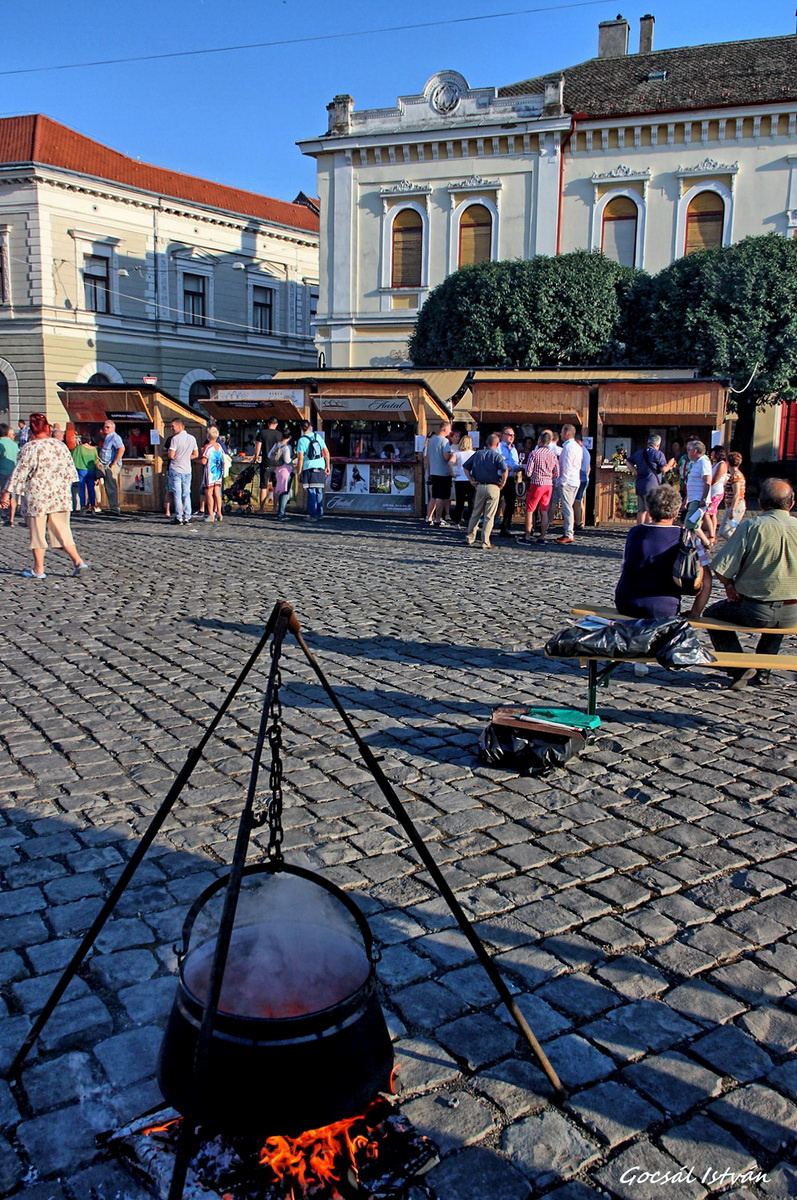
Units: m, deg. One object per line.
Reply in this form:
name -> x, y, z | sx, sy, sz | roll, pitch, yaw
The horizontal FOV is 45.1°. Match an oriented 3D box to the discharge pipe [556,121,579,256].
discharge pipe -> 5.195, -12.850, 29.842 | 0.435, 3.886, 0.712 | 6, 8, 22

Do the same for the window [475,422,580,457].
window -> 2.444, -3.418, 19.290 | 1.540, 1.036, 0.395 | 2, 30, 23

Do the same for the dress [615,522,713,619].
dress -> 1.609, -0.168, 6.123 | 0.388, 0.621, 0.266 | 5, 8, 15

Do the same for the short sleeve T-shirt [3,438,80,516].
short sleeve T-shirt -> -3.863, -1.307, 10.344 | 0.618, 0.841, 0.385 | 0, 8, -24

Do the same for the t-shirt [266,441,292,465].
t-shirt -> -2.375, -3.092, 19.802 | 0.399, 0.463, 0.640 | -17, 29, -41

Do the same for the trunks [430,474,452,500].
trunks -> 0.772, -2.028, 17.471 | 0.331, 0.554, 0.424 | 1, -4, -5

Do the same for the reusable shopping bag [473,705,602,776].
reusable shopping bag -> 0.644, 0.635, 4.621 | 0.381, 0.135, 0.338 | 1, 7, 30

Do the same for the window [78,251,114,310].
window -> -10.958, -11.422, 34.792 | 0.385, 1.954, 1.286 | 7, 9, 30

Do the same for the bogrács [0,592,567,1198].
bogrács -> -0.193, 0.531, 1.847 | 0.635, 1.047, 0.746 | 1, 8, -17
